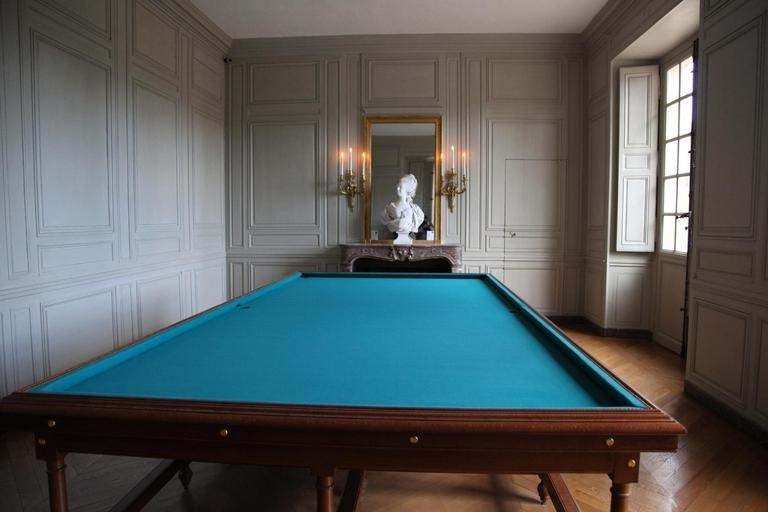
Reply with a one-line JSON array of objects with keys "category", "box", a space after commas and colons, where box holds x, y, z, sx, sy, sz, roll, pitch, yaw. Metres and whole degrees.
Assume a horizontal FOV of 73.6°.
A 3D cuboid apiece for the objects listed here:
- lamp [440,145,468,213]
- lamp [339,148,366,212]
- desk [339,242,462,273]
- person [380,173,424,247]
[{"category": "lamp", "box": [0.820, -0.909, 6.004, 0.316, 0.769, 0.148, 1, 8, 6]}, {"category": "lamp", "box": [-0.374, -0.890, 6.020, 0.336, 0.664, 0.183, -2, -1, -12]}, {"category": "desk", "box": [0.182, 0.018, 5.973, 1.379, 0.365, 0.523, 0, 7, 1]}, {"category": "person", "box": [0.237, -0.540, 5.906, 0.499, 0.773, 0.272, -1, 7, -5]}]
